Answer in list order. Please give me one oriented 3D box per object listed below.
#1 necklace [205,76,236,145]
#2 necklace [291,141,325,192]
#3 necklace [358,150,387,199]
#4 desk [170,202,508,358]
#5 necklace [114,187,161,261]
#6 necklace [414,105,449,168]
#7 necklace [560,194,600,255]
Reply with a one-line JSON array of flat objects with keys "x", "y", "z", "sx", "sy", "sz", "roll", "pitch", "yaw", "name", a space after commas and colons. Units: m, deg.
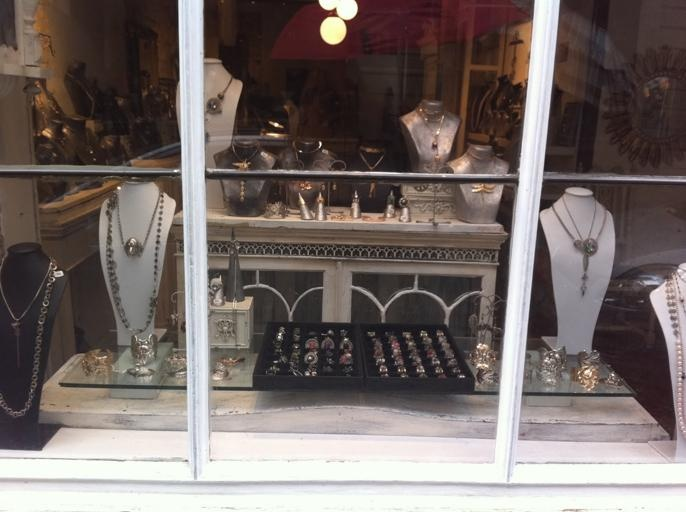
[{"x": -0.391, "y": -0.443, "z": 2.270, "sx": 0.055, "sy": 0.159, "sz": 0.114, "roll": 6, "pitch": -1, "yaw": 16, "name": "necklace"}, {"x": -0.120, "y": -0.292, "z": 2.408, "sx": 0.126, "sy": 0.173, "sz": 0.220, "roll": 2, "pitch": 9, "yaw": 6, "name": "necklace"}, {"x": 0.100, "y": -0.276, "z": 2.515, "sx": 0.082, "sy": 0.158, "sz": 0.080, "roll": 3, "pitch": -4, "yaw": -3, "name": "necklace"}, {"x": 0.035, "y": 0.060, "z": 2.536, "sx": 0.950, "sy": 0.436, "sz": 0.217, "roll": -1, "pitch": 9, "yaw": -13, "name": "desk"}, {"x": -0.662, "y": -0.114, "z": 2.380, "sx": 0.147, "sy": 0.232, "sz": 0.147, "roll": 6, "pitch": 29, "yaw": -1, "name": "necklace"}, {"x": 0.306, "y": -0.411, "z": 2.513, "sx": 0.110, "sy": 0.227, "sz": 0.045, "roll": 1, "pitch": 9, "yaw": 2, "name": "necklace"}, {"x": 0.761, "y": -0.112, "z": 2.396, "sx": 0.137, "sy": 0.264, "sz": 0.043, "roll": -10, "pitch": 16, "yaw": 0, "name": "necklace"}]
